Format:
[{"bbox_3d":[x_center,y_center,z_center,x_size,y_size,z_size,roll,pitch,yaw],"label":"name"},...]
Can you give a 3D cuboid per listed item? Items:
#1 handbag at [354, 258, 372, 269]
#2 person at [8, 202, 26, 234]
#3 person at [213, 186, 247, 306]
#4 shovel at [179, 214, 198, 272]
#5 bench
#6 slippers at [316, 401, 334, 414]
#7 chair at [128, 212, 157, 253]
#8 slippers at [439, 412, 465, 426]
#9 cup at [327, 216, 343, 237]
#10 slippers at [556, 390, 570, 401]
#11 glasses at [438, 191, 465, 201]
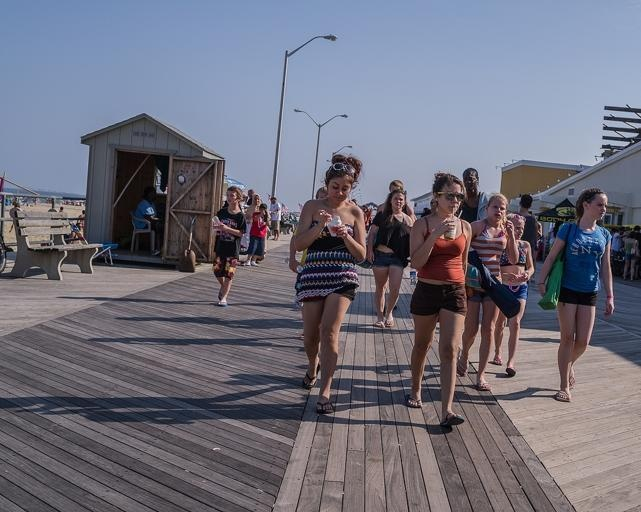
[{"bbox_3d":[0.658,0.095,6.963,0.186,0.125,0.268,2,9,18],"label":"handbag"},{"bbox_3d":[-6.305,-0.795,10.077,0.246,0.677,1.064,1,5,-32],"label":"person"},{"bbox_3d":[-1.629,-0.170,8.625,0.541,2.143,0.893,3,5,-11],"label":"person"},{"bbox_3d":[-3.618,-0.343,13.242,0.406,1.466,1.322,2,5,-15],"label":"shovel"},{"bbox_3d":[-5.828,-0.252,10.718,1.072,1.355,1.834,2,3,1],"label":"bench"},{"bbox_3d":[0.046,1.308,4.197,0.163,0.096,0.093,3,4,-14],"label":"slippers"},{"bbox_3d":[-5.411,-0.671,14.754,0.769,1.082,0.784,-1,4,-41],"label":"chair"},{"bbox_3d":[1.078,1.339,3.963,0.096,0.078,0.188,9,-27,-24],"label":"slippers"},{"bbox_3d":[0.115,-0.266,4.251,0.104,0.164,0.158,-2,10,-2],"label":"cup"},{"bbox_3d":[2.506,1.456,5.031,0.066,0.086,0.193,3,1,9],"label":"slippers"},{"bbox_3d":[1.169,-0.521,4.312,0.229,0.077,0.127,5,4,2],"label":"glasses"}]
